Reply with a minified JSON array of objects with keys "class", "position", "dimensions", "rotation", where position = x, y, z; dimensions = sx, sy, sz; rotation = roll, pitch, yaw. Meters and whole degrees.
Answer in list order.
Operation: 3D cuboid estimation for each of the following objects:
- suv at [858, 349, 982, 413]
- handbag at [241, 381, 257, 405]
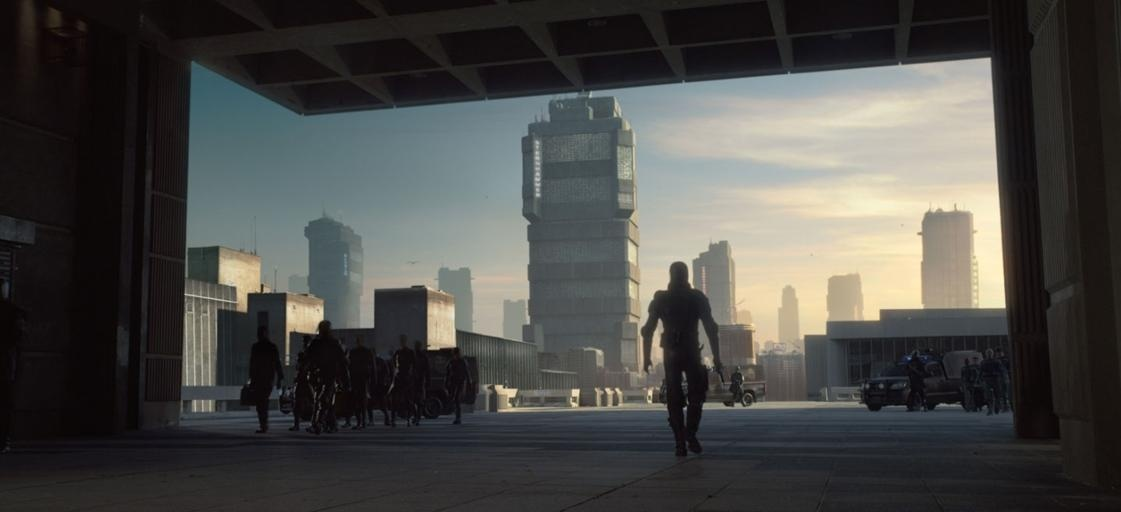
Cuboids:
[{"class":"suv","position":[17.746,6.447,53.850],"dimensions":[8.645,2.755,3.094],"rotation":[1,-4,-21]},{"class":"handbag","position":[-11.522,4.994,38.798],"dimensions":[0.510,0.794,1.342],"rotation":[4,-14,-16]}]
